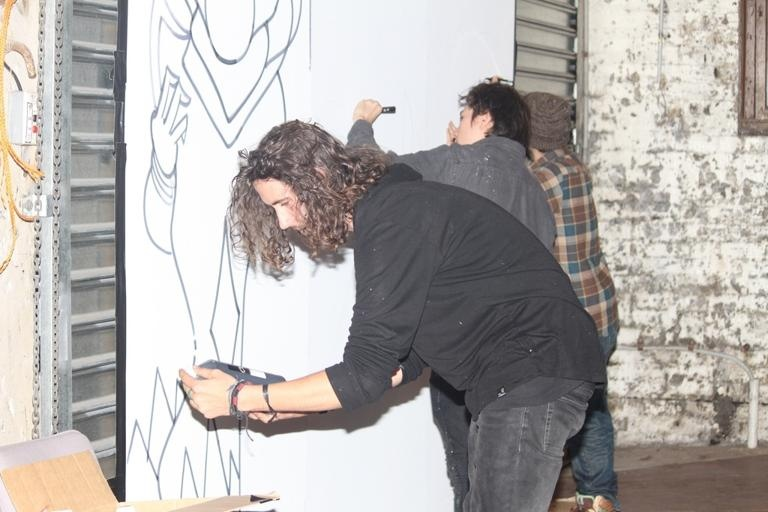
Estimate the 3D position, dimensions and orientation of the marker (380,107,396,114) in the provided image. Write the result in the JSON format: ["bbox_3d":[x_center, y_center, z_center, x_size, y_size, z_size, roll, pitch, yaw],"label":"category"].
[{"bbox_3d":[0.021,-0.636,3.826,0.071,0.030,0.014,-4,3,-32],"label":"marker"}]

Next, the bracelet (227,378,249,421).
[{"bbox_3d":[-0.560,0.555,3.282,0.047,0.133,0.101,2,39,5],"label":"bracelet"}]

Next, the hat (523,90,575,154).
[{"bbox_3d":[0.838,-0.689,4.376,0.245,0.291,0.325,-5,41,3],"label":"hat"}]
